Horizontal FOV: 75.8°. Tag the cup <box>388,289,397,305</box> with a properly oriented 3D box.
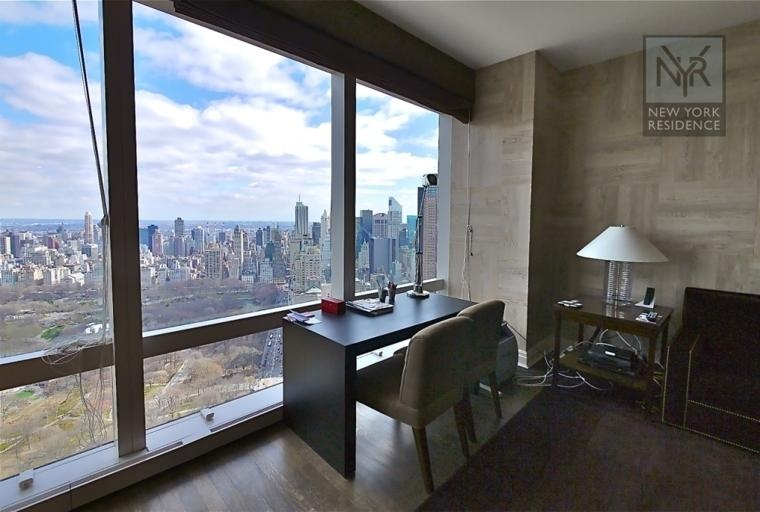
[{"bbox_3d":[0.094,0.337,3.844,0.090,0.101,0.088,-1,7,0],"label":"cup"}]

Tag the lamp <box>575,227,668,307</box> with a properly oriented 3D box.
[{"bbox_3d":[2.009,0.027,4.149,0.660,0.648,0.674,4,7,36],"label":"lamp"}]

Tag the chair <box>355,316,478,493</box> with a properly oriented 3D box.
[{"bbox_3d":[0.220,0.909,3.368,0.757,1.034,0.703,4,10,30],"label":"chair"}]

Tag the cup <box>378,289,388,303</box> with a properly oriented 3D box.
[{"bbox_3d":[0.027,0.312,3.809,0.091,0.095,0.096,0,9,0],"label":"cup"}]

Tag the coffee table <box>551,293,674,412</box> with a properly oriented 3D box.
[{"bbox_3d":[1.946,0.751,4.138,0.773,0.736,0.602,10,19,36],"label":"coffee table"}]

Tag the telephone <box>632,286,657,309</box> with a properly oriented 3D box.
[{"bbox_3d":[2.174,0.335,4.057,0.169,0.180,0.172,10,17,43],"label":"telephone"}]
